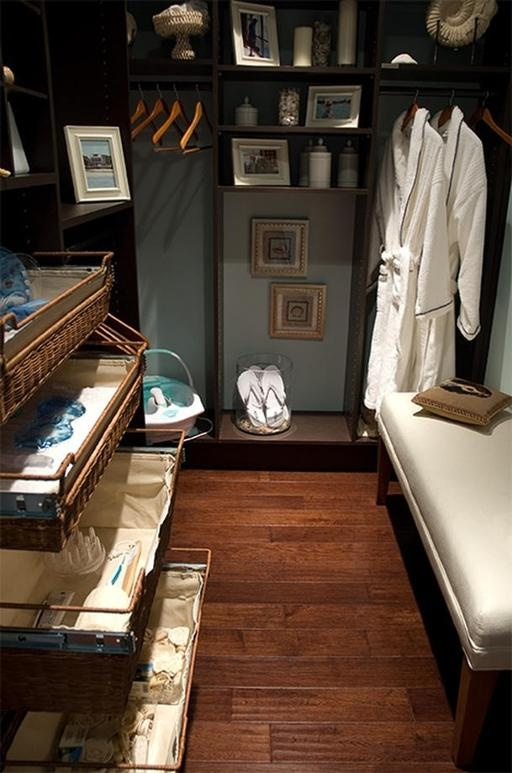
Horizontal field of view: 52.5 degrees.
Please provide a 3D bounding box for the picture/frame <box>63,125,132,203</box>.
[{"bbox_3d":[-0.450,-0.626,1.461,0.019,0.254,0.245,1,19,22],"label":"picture/frame"}]

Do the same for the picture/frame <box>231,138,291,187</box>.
[{"bbox_3d":[0.021,-1.008,2.338,0.244,0.223,0.020,-1,10,-12],"label":"picture/frame"}]

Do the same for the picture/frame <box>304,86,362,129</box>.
[{"bbox_3d":[0.332,-1.197,2.224,0.215,0.195,0.018,1,11,3],"label":"picture/frame"}]

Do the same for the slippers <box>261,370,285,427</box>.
[{"bbox_3d":[0.098,0.064,2.726,0.109,0.307,0.084,-2,1,-4],"label":"slippers"}]

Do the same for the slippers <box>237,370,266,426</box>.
[{"bbox_3d":[-0.029,0.045,2.720,0.116,0.327,0.084,-4,10,6],"label":"slippers"}]

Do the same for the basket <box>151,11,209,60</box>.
[{"bbox_3d":[-0.303,-1.446,2.124,0.202,0.194,0.116,3,23,13],"label":"basket"}]
